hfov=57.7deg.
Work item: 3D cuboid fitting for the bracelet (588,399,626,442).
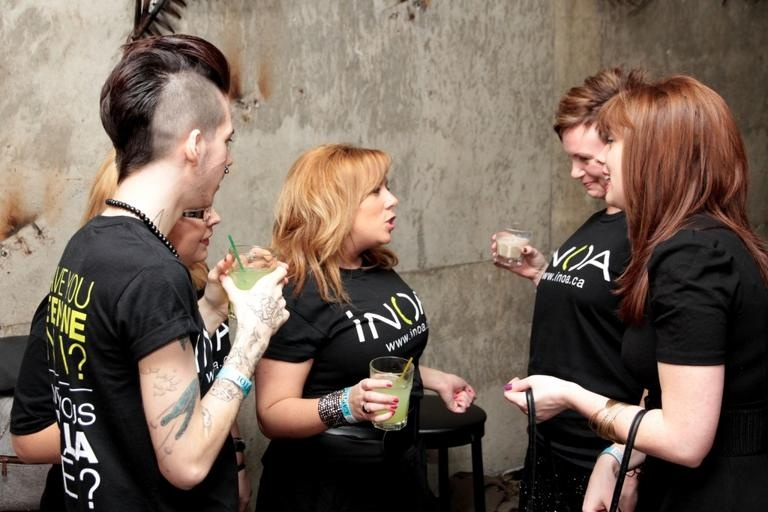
[{"bbox_3d":[0.766,0.566,2.427,0.140,0.104,0.122,-9,3,29],"label":"bracelet"}]

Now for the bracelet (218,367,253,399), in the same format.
[{"bbox_3d":[-0.484,0.401,2.297,0.107,0.041,0.094,32,-4,2],"label":"bracelet"}]

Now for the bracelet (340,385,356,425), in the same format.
[{"bbox_3d":[-0.151,0.583,2.728,0.044,0.109,0.100,-1,-8,-9],"label":"bracelet"}]

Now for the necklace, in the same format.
[{"bbox_3d":[-0.773,-0.111,2.247,0.223,0.027,0.174,38,11,-11],"label":"necklace"}]
